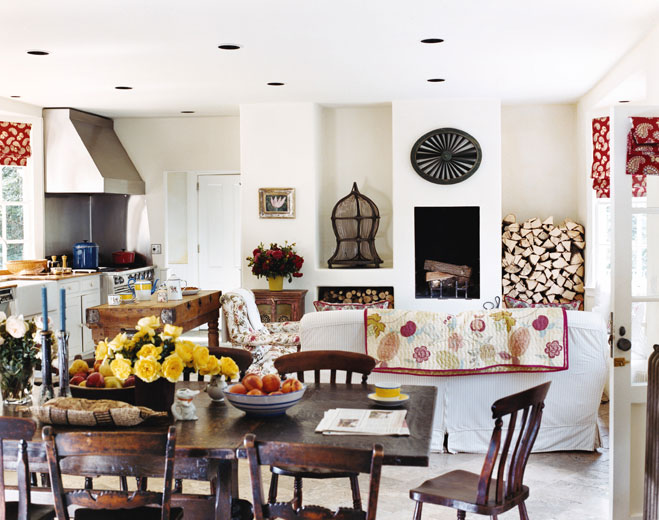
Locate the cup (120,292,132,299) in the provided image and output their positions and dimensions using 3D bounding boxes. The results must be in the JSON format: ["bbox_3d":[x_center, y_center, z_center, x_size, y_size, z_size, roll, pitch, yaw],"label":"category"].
[{"bbox_3d":[-1.814,0.325,5.239,0.069,0.053,0.070,4,1,0],"label":"cup"}]

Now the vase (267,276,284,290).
[{"bbox_3d":[-0.674,0.290,7.308,0.169,0.128,0.170,0,0,44],"label":"vase"}]

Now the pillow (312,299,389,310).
[{"bbox_3d":[0.207,0.444,5.832,0.605,0.091,0.181,1,15,8],"label":"pillow"}]

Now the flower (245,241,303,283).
[{"bbox_3d":[-0.706,0.092,7.316,0.572,0.416,0.549,-9,-17,14],"label":"flower"}]

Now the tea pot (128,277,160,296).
[{"bbox_3d":[-2.027,0.293,6.356,0.290,0.253,0.229,-2,2,-8],"label":"tea pot"}]

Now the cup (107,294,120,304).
[{"bbox_3d":[-1.896,0.349,5.149,0.080,0.075,0.105,1,-2,-10],"label":"cup"}]

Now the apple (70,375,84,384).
[{"bbox_3d":[-1.137,0.546,2.646,0.041,0.023,0.040,-6,4,-41],"label":"apple"}]

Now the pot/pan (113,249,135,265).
[{"bbox_3d":[-2.869,-0.031,8.221,0.229,0.158,0.203,0,5,7],"label":"pot/pan"}]

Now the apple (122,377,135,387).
[{"bbox_3d":[-0.899,0.551,2.639,0.039,0.042,0.047,-1,-10,6],"label":"apple"}]

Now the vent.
[{"bbox_3d":[-3.226,-1.473,8.278,0.761,1.110,1.425,3,6,5],"label":"vent"}]

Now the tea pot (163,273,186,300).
[{"bbox_3d":[-1.394,0.270,5.464,0.259,0.267,0.190,1,0,-24],"label":"tea pot"}]

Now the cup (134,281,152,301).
[{"bbox_3d":[-1.696,0.293,5.327,0.157,0.173,0.157,1,-3,0],"label":"cup"}]

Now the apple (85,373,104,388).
[{"bbox_3d":[-1.043,0.535,2.619,0.066,0.064,0.066,0,-4,-41],"label":"apple"}]
